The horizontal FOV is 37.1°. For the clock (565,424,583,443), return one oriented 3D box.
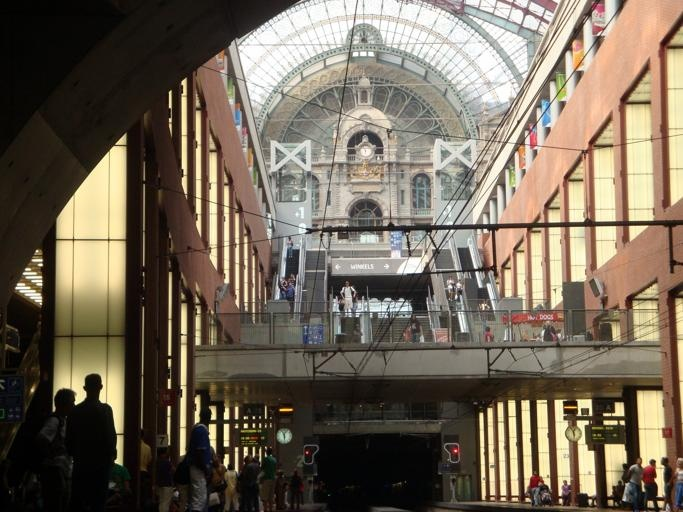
[{"bbox_3d":[7.930,6.054,34.926,0.538,0.542,0.437,-4,-15,13],"label":"clock"}]

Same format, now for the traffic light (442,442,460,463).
[{"bbox_3d":[4.459,8.042,41.356,0.582,0.869,0.632,0,-15,0],"label":"traffic light"}]

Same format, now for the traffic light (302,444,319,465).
[{"bbox_3d":[-1.348,8.580,43.725,0.605,0.896,0.582,1,-14,-4],"label":"traffic light"}]
